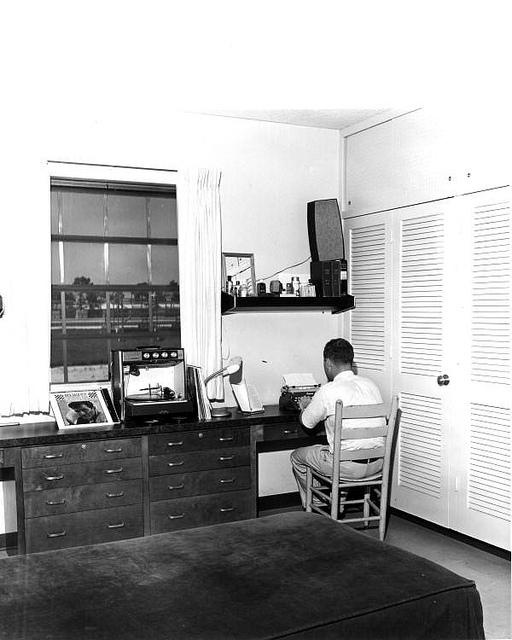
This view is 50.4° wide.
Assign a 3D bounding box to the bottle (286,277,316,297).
[{"bbox_3d":[0.348,-0.255,4.228,0.186,0.165,0.131,2,0,-2],"label":"bottle"}]

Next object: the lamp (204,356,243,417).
[{"bbox_3d":[-0.233,0.483,3.831,0.265,0.428,0.181,-5,20,-10],"label":"lamp"}]

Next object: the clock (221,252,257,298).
[{"bbox_3d":[-0.148,-0.336,4.144,0.289,0.455,0.021,4,-15,-23],"label":"clock"}]
